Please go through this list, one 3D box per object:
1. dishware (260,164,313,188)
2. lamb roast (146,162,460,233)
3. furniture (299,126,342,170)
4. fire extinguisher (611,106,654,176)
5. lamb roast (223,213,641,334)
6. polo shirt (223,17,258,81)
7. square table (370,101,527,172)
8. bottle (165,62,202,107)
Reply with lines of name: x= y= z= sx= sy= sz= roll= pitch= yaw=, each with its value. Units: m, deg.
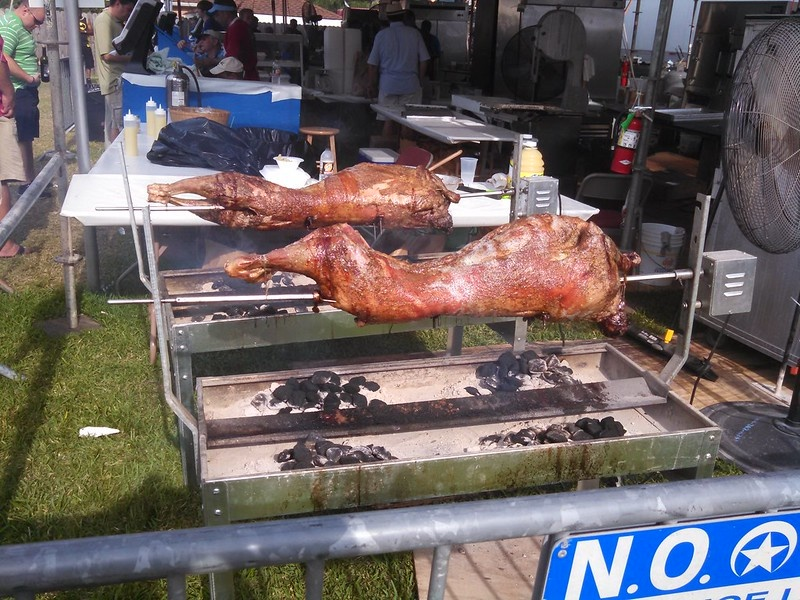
dishware: x=-0.754 y=-0.816 z=4.423 sx=0.324 sy=0.110 sz=0.312 roll=-5 pitch=34 yaw=-26
lamb roast: x=-0.467 y=-0.512 z=3.465 sx=1.634 sy=0.317 sz=0.469 roll=-4 pitch=31 yaw=-15
furniture: x=-0.742 y=-1.488 z=6.559 sx=0.391 sy=0.425 sz=0.386 roll=2 pitch=4 yaw=-6
fire extinguisher: x=2.080 y=-1.464 z=6.042 sx=0.205 sy=0.637 sz=0.509 roll=4 pitch=35 yaw=-17
lamb roast: x=0.283 y=-0.138 z=3.039 sx=2.157 sy=0.616 sz=0.588 roll=0 pitch=22 yaw=-11
polo shirt: x=-2.161 y=-3.734 z=9.098 sx=0.370 sy=0.866 sz=0.734 roll=7 pitch=-10 yaw=-10
square table: x=0.442 y=-1.706 z=7.202 sx=1.754 sy=0.682 sz=0.387 roll=5 pitch=43 yaw=7
bottle: x=-2.007 y=-1.920 z=6.042 sx=0.280 sy=0.383 sz=0.705 roll=-3 pitch=1 yaw=-7
